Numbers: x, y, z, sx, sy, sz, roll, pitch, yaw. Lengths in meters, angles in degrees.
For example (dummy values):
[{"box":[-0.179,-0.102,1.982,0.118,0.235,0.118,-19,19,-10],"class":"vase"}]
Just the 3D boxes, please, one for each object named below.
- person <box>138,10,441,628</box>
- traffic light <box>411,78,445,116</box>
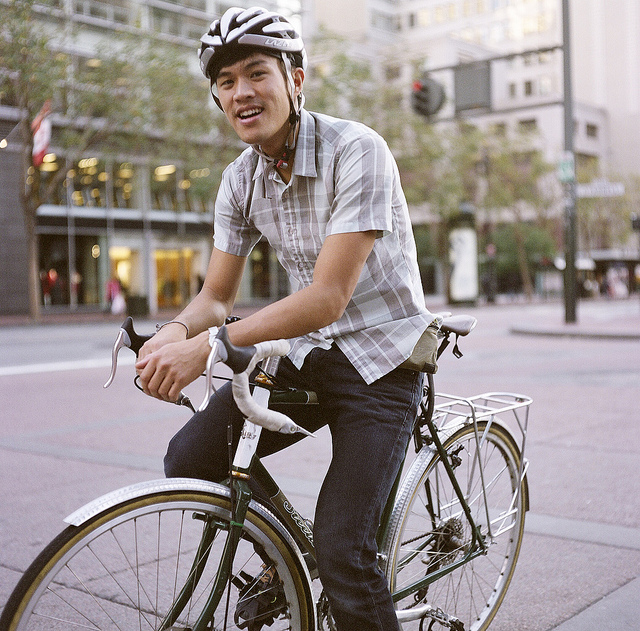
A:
[{"box":[-0.056,-0.001,2.274,0.667,1.622,0.567,1,4,19],"class":"person"},{"box":[1.813,-3.713,14.263,0.547,0.639,0.421,0,4,7],"class":"traffic light"}]
